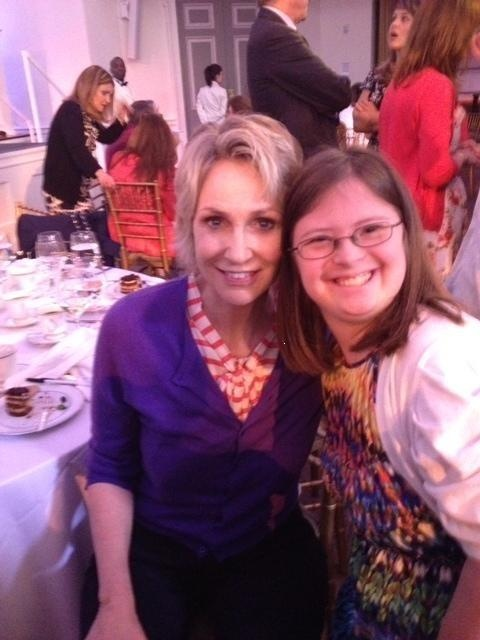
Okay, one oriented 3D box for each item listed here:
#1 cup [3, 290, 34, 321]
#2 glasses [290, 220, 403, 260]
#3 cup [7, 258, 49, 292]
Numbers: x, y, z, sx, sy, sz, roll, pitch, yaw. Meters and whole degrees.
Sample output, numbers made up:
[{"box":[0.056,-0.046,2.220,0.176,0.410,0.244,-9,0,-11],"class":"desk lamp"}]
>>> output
[{"box":[-0.760,-0.058,1.623,0.083,0.107,0.093,-1,11,-9],"class":"cup"},{"box":[0.167,-0.122,0.730,0.156,0.057,0.052,1,23,10],"class":"glasses"},{"box":[-0.774,-0.165,1.792,0.156,0.150,0.134,-1,4,-14],"class":"cup"}]
